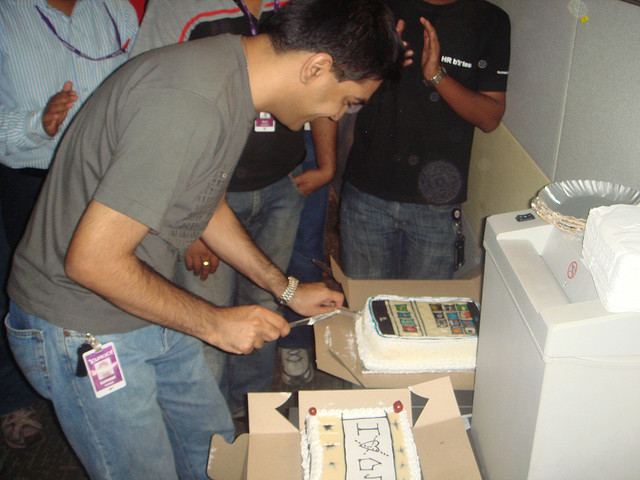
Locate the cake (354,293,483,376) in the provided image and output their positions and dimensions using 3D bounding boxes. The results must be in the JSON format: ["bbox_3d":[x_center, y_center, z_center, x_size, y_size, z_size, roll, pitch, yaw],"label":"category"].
[{"bbox_3d":[0.374,0.354,2.042,0.414,0.132,0.301,1,49,-1],"label":"cake"}]

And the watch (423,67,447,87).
[{"bbox_3d":[0.499,-0.698,2.337,0.077,0.085,0.089,-15,46,-24],"label":"watch"}]

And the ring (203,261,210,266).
[{"bbox_3d":[-0.503,0.103,2.359,0.018,0.021,0.005,1,-6,-2],"label":"ring"}]

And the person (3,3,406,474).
[{"bbox_3d":[-0.449,0.086,1.816,1.188,1.595,0.461,-14,27,-24],"label":"person"}]
